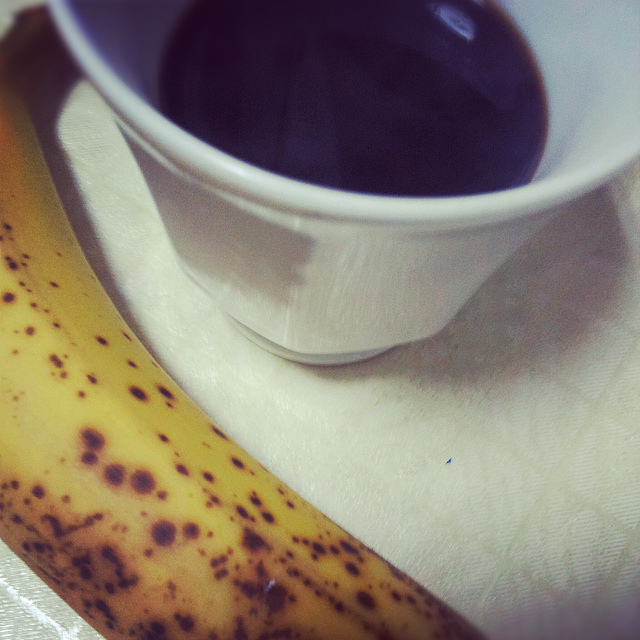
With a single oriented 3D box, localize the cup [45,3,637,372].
[{"bbox_3d":[0.009,-0.079,0.453,0.243,0.192,0.258,5,63,-11],"label":"cup"}]
